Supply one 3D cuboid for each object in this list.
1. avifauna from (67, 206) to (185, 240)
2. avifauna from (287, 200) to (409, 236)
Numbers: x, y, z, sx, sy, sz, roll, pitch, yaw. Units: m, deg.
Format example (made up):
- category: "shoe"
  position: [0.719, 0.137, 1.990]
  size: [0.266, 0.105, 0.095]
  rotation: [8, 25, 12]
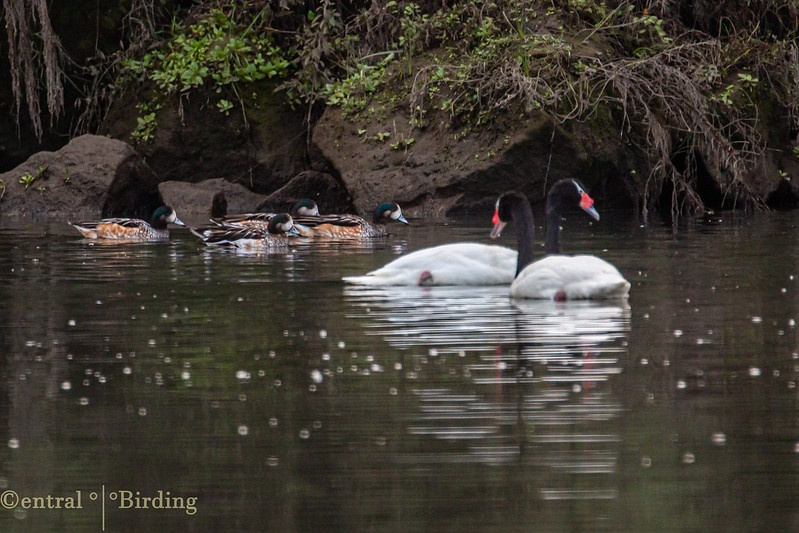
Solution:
- category: "avifauna"
  position: [-4.125, -0.558, 20.488]
  size: [1.653, 0.603, 0.529]
  rotation: [1, 11, -9]
- category: "avifauna"
  position: [-0.626, -0.746, 20.693]
  size: [1.996, 0.717, 0.611]
  rotation: [0, 11, 4]
